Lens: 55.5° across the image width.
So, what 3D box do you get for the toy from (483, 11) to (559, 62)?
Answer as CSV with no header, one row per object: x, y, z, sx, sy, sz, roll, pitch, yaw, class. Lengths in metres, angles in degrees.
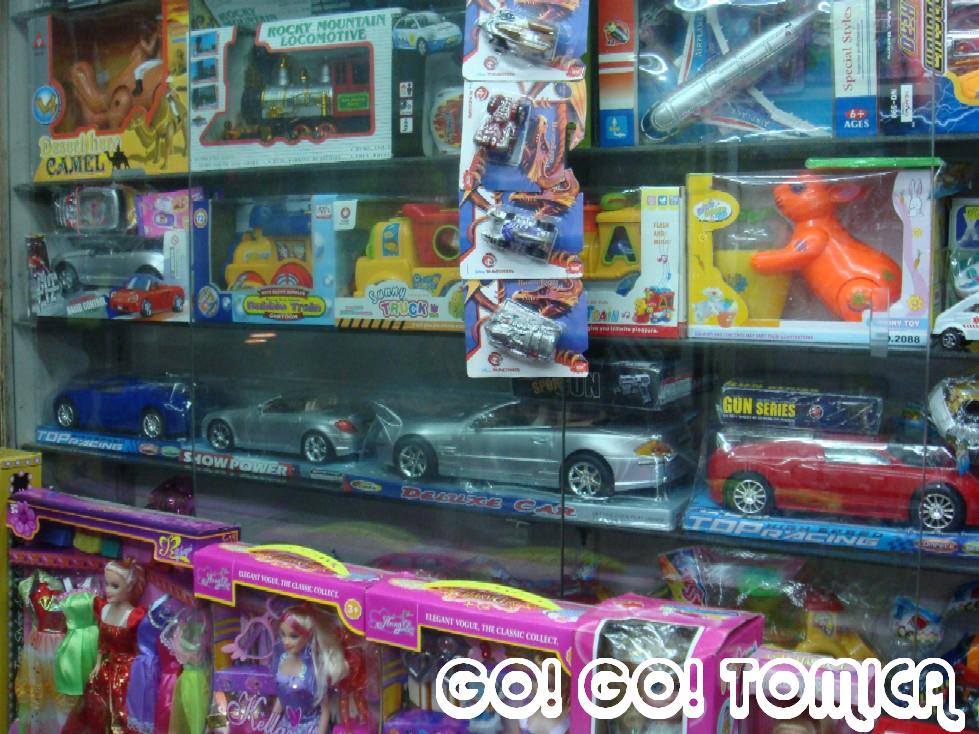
0.067,-0.748,2.109,0.139,0.105,0.055,16,3,15,toy

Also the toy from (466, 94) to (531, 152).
0.028,-0.557,2.127,0.129,0.126,0.051,-6,15,2,toy

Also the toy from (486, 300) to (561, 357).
0.074,-0.085,2.153,0.143,0.120,0.055,25,6,9,toy

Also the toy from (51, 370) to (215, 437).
-1.108,0.068,2.826,0.407,0.142,0.243,5,15,22,toy

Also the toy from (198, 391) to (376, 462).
-0.541,0.133,2.616,0.342,0.138,0.217,9,10,18,toy

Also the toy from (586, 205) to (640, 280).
0.310,-0.293,2.280,0.159,0.189,0.142,2,5,22,toy

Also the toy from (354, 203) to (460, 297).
-0.206,-0.304,2.418,0.313,0.282,0.196,2,4,19,toy

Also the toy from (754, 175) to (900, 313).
0.780,-0.282,2.130,0.279,0.334,0.236,10,16,24,toy
